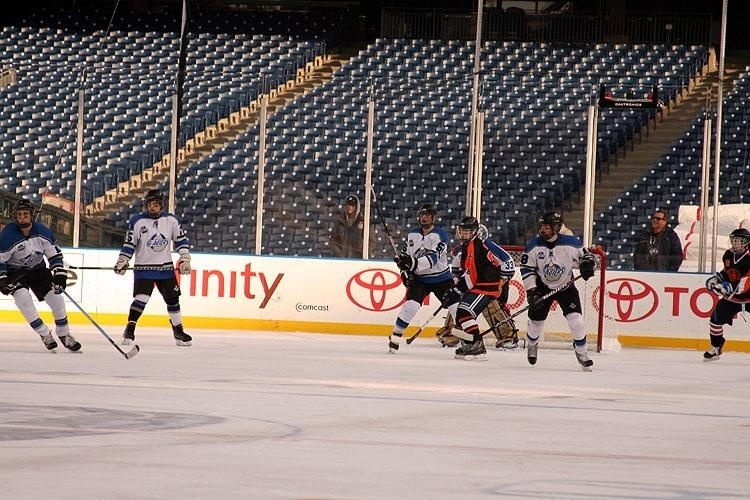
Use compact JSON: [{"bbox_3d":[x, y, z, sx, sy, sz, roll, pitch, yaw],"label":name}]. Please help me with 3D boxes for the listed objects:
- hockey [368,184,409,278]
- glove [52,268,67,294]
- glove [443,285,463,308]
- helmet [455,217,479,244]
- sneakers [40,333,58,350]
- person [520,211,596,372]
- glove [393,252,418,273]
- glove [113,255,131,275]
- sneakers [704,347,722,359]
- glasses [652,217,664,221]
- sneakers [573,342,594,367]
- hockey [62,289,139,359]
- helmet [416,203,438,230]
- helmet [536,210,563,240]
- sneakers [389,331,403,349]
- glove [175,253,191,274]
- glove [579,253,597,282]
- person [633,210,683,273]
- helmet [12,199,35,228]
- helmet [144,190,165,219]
[{"bbox_3d":[0.190,-0.263,22.579,0.107,0.098,2.248,-19,42,-11],"label":"hockey"},{"bbox_3d":[-4.663,0.455,19.166,0.263,0.309,0.143,0,-6,12],"label":"glove"},{"bbox_3d":[1.191,0.730,20.352,0.240,0.298,0.302,7,9,1],"label":"glove"},{"bbox_3d":[1.436,-0.314,20.269,0.341,0.352,0.393,-4,-6,36],"label":"helmet"},{"bbox_3d":[-4.891,1.359,19.291,0.090,0.275,0.108,-42,-5,4],"label":"sneakers"},{"bbox_3d":[2.693,0.600,19.371,1.100,2.307,0.522,2,2,36],"label":"person"},{"bbox_3d":[0.463,0.188,20.451,0.338,0.137,0.265,36,18,21],"label":"glove"},{"bbox_3d":[-3.978,0.233,20.121,0.258,0.287,0.127,29,-13,-22],"label":"glove"},{"bbox_3d":[5.421,1.661,20.867,0.329,0.199,0.227,0,2,-6],"label":"sneakers"},{"bbox_3d":[4.854,-0.539,22.368,0.140,0.075,0.051,1,2,16],"label":"glasses"},{"bbox_3d":[3.070,1.573,19.230,0.264,0.373,0.175,1,2,9],"label":"sneakers"},{"bbox_3d":[-4.159,1.089,19.097,0.545,1.818,0.235,-26,48,2],"label":"hockey"},{"bbox_3d":[0.837,-0.503,20.559,0.332,0.383,0.403,0,-17,9],"label":"helmet"},{"bbox_3d":[2.593,-0.350,19.383,0.350,0.366,0.420,-3,-5,42],"label":"helmet"},{"bbox_3d":[0.302,1.408,20.346,0.184,0.294,0.207,1,2,0],"label":"sneakers"},{"bbox_3d":[-2.990,0.232,20.363,0.299,0.277,0.121,2,-2,39],"label":"glove"},{"bbox_3d":[3.175,0.258,19.296,0.284,0.350,0.156,-4,-10,33],"label":"glove"},{"bbox_3d":[4.915,-0.134,22.563,0.843,1.021,0.431,1,2,10],"label":"person"},{"bbox_3d":[-5.177,-0.534,19.026,0.265,0.408,0.280,0,2,-18],"label":"helmet"},{"bbox_3d":[-3.488,-0.720,20.331,0.276,0.437,0.326,0,2,-13],"label":"helmet"}]
